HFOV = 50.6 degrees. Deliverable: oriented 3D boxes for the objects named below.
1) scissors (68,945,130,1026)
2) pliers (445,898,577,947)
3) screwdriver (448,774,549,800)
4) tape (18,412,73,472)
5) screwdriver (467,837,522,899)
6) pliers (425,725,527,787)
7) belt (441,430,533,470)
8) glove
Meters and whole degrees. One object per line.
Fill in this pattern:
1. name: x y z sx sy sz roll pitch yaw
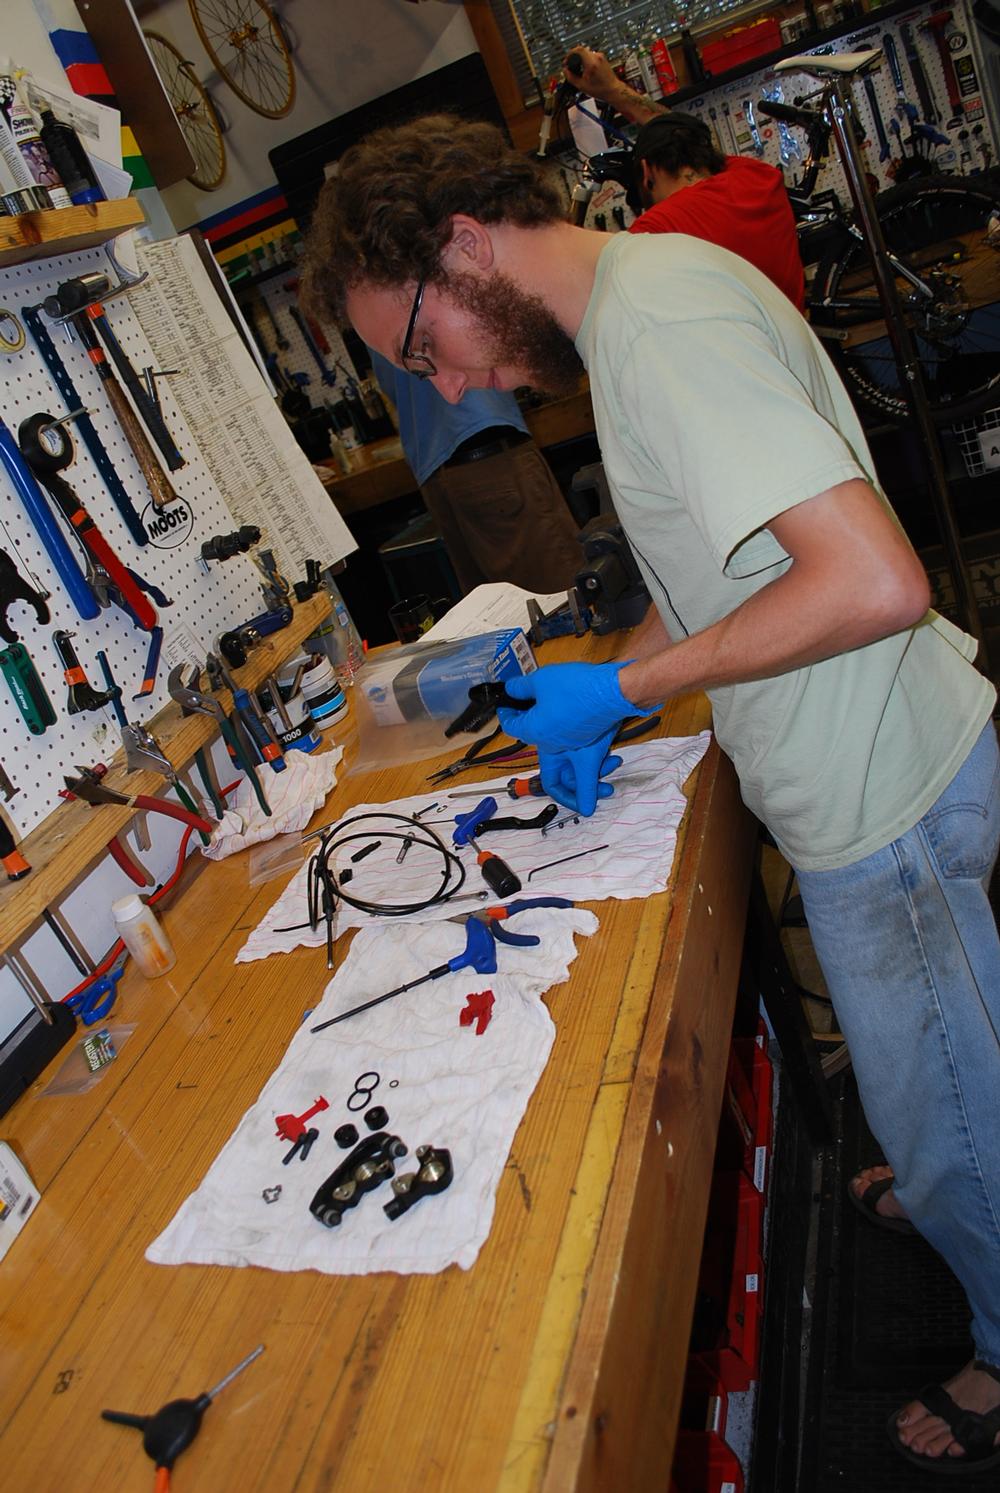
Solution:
1. scissors: -0.590 0.348 1.565 0.051 0.013 0.116 11 27 9
2. pliers: 0.021 0.210 1.295 0.089 0.017 0.065 0 24 16
3. screwdriver: 0.026 0.060 1.598 0.107 0.021 0.030 -9 -10 41
4. tape: -0.713 -0.479 1.656 0.025 0.091 0.092 -15 15 18
5. screwdriver: -0.003 0.158 1.396 0.026 0.025 0.091 -39 32 1
6. pliers: -0.039 0.017 1.813 0.116 0.032 0.091 -26 22 5
7. belt: -0.033 -0.988 3.577 0.147 0.050 0.158 -34 10 -28
8. glove: 0.072 -0.048 1.440 0.189 0.221 0.295 7 17 28
